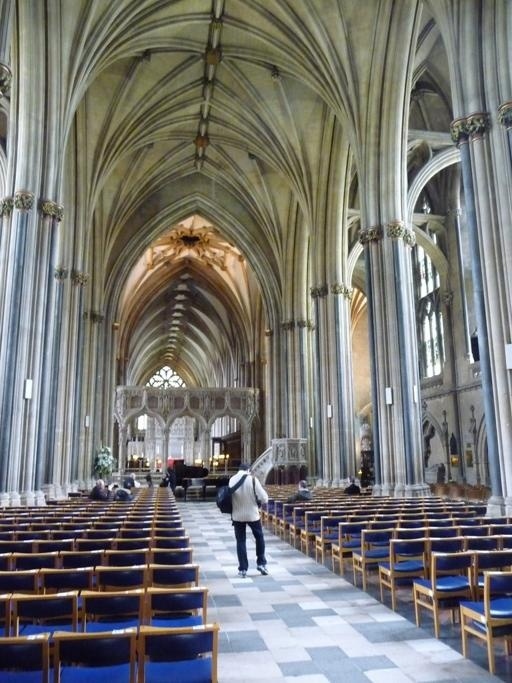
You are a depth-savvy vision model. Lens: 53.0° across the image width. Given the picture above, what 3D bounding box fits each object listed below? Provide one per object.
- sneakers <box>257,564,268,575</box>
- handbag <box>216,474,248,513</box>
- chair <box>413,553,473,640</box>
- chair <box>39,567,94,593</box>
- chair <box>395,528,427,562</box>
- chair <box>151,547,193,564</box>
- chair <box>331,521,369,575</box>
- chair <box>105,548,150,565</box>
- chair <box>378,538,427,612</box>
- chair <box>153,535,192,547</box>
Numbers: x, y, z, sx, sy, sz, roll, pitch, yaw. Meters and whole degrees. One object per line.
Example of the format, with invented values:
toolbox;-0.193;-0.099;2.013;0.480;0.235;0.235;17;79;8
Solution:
sneakers;0.085;3.005;6.738;0.047;0.137;0.095;-47;-12;28
handbag;-0.335;2.074;6.960;0.402;0.530;0.322;7;-14;-14
chair;1.572;2.072;4.273;0.361;0.718;0.453;-1;-7;5
chair;-1.213;1.540;3.308;0.307;0.181;0.180;0;-11;-19
chair;1.633;2.122;5.396;0.225;0.390;0.304;0;-6;5
chair;-0.728;1.843;4.412;0.331;0.169;0.307;-2;-12;-14
chair;1.271;2.682;6.734;0.373;0.783;0.442;-2;3;-4
chair;-1.044;1.770;4.194;0.334;0.148;0.201;-2;-11;-12
chair;1.495;2.269;5.140;0.328;0.711;0.418;-1;-3;4
chair;-0.843;1.997;5.098;0.319;0.128;0.198;-3;-11;-7
